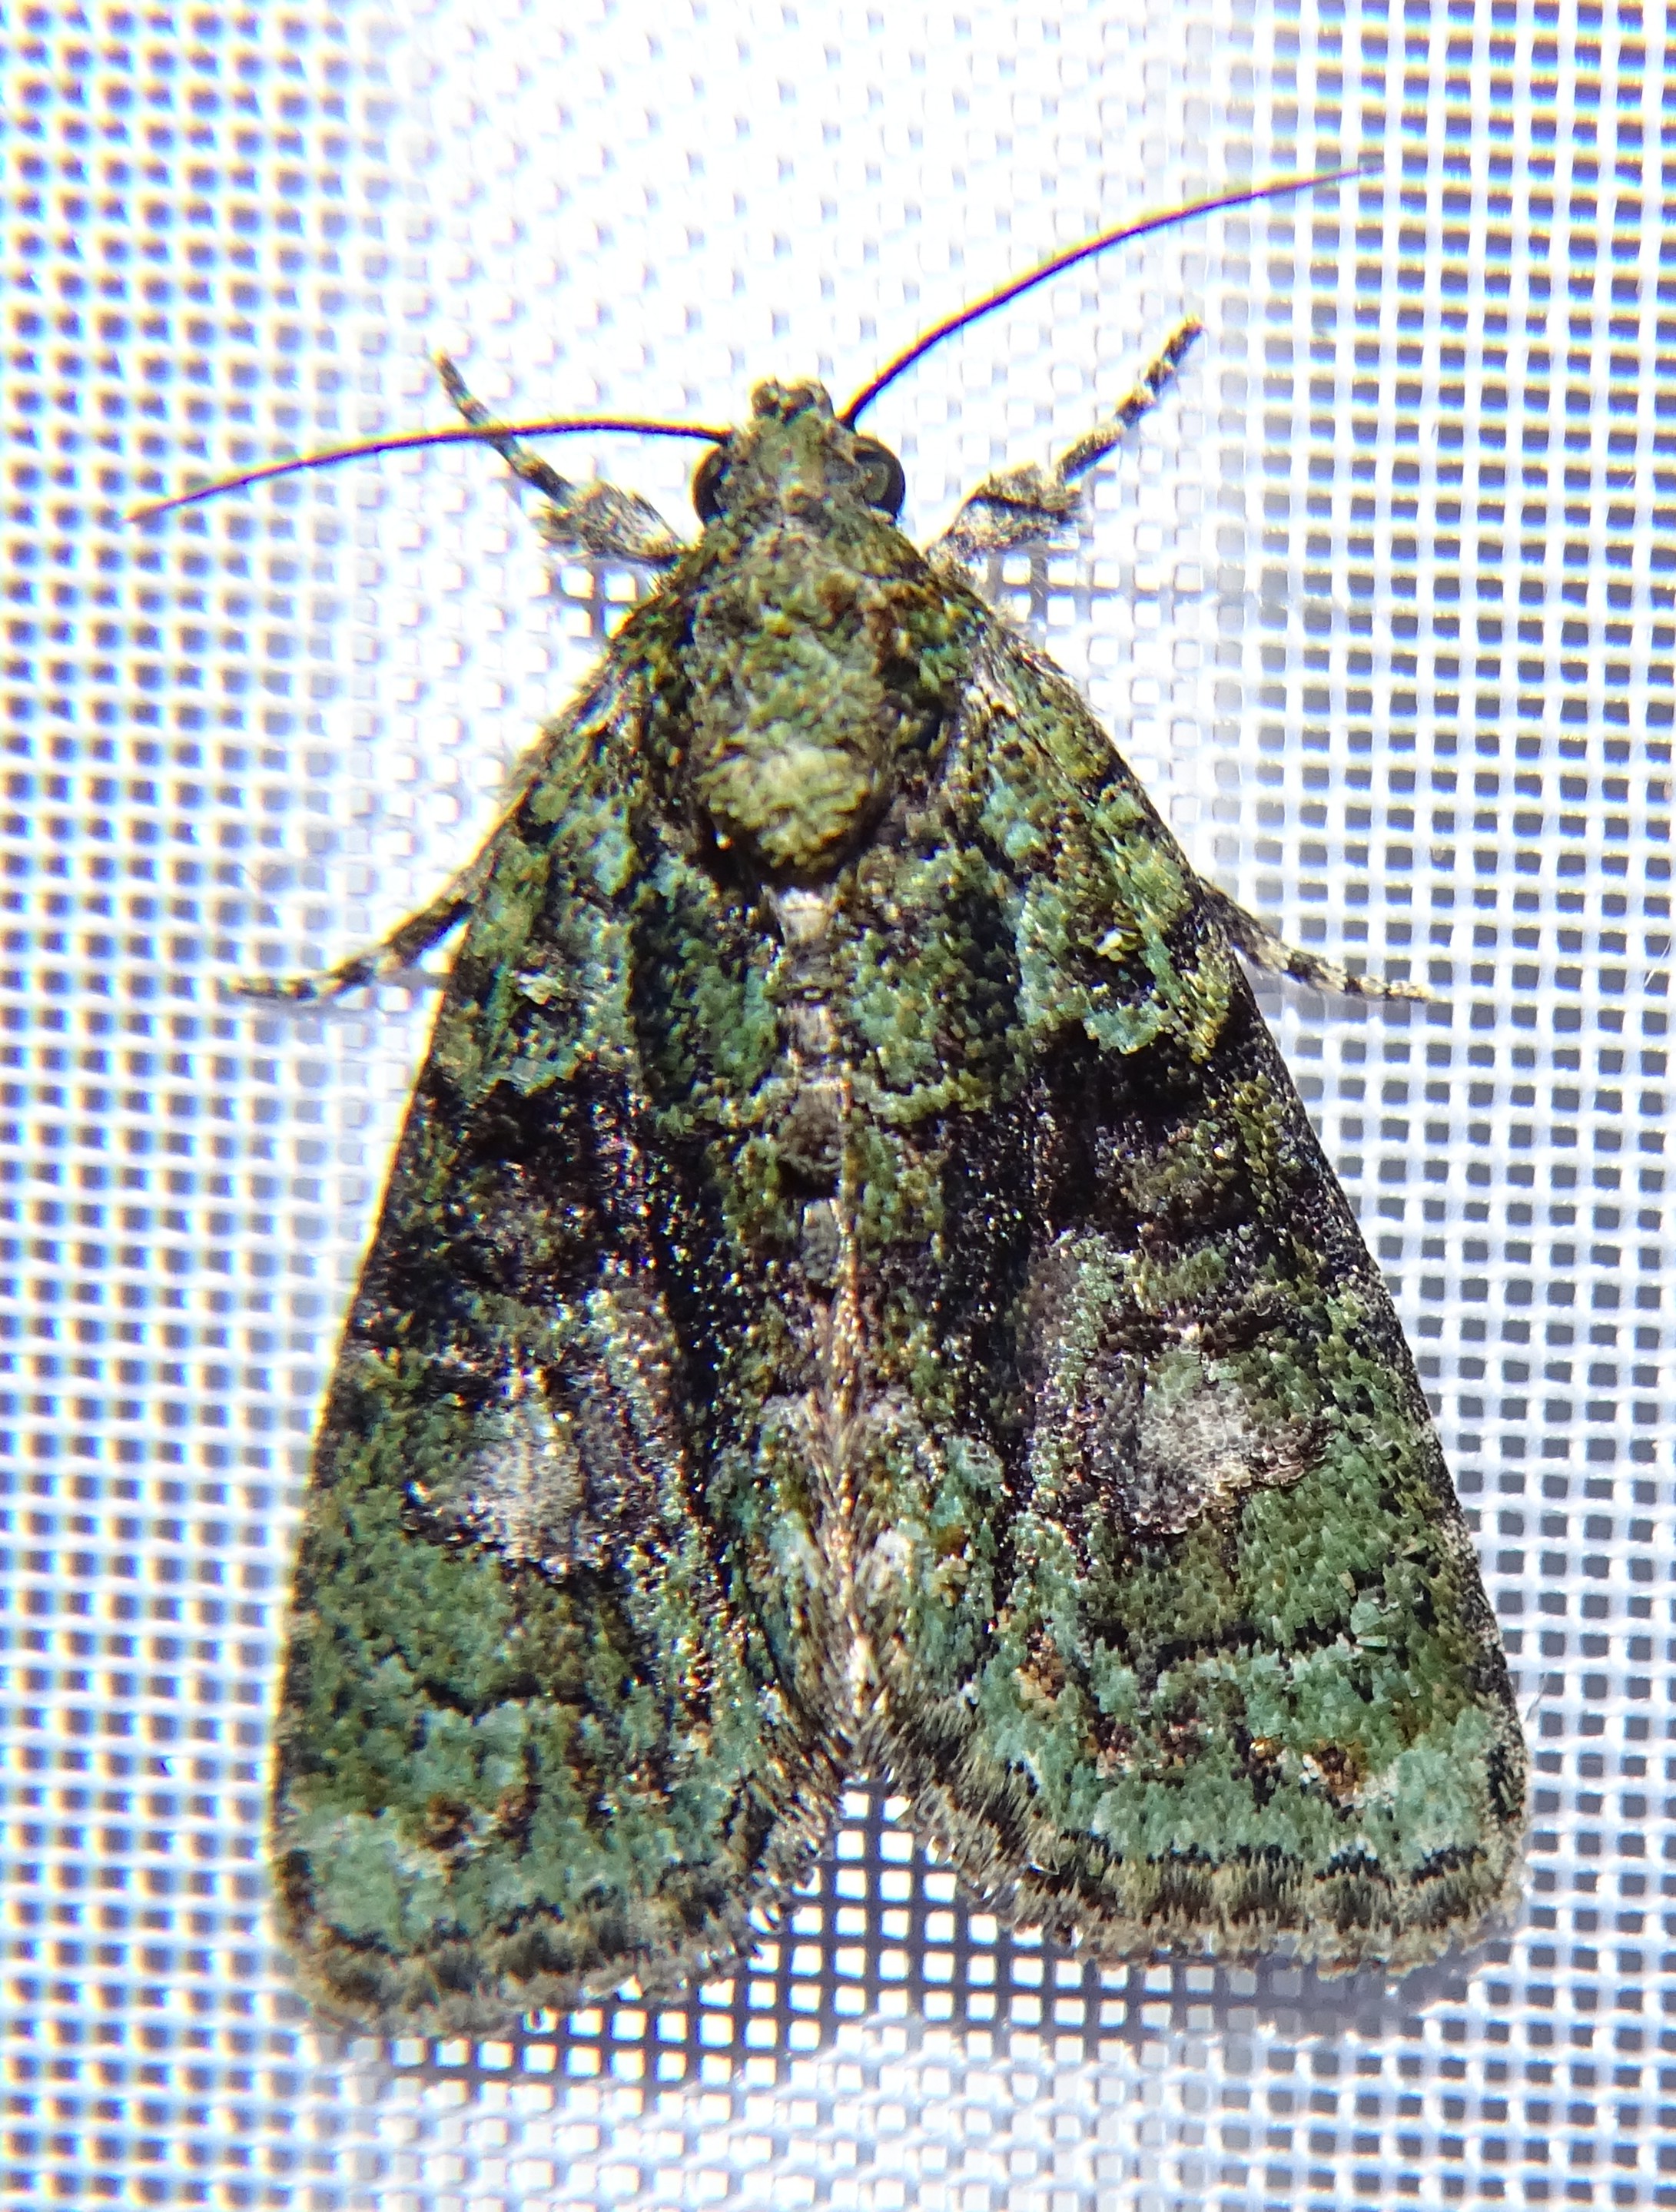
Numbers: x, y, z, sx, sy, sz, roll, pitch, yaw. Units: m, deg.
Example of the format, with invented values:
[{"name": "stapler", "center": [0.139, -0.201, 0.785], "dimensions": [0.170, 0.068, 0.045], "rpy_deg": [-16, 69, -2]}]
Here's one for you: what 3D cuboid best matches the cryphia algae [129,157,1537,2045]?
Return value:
[{"name": "cryphia algae", "center": [0.052, -0.041, 3.937], "dimensions": [1.181, 2.147, 1.639], "rpy_deg": [0, 100, 5]}]
